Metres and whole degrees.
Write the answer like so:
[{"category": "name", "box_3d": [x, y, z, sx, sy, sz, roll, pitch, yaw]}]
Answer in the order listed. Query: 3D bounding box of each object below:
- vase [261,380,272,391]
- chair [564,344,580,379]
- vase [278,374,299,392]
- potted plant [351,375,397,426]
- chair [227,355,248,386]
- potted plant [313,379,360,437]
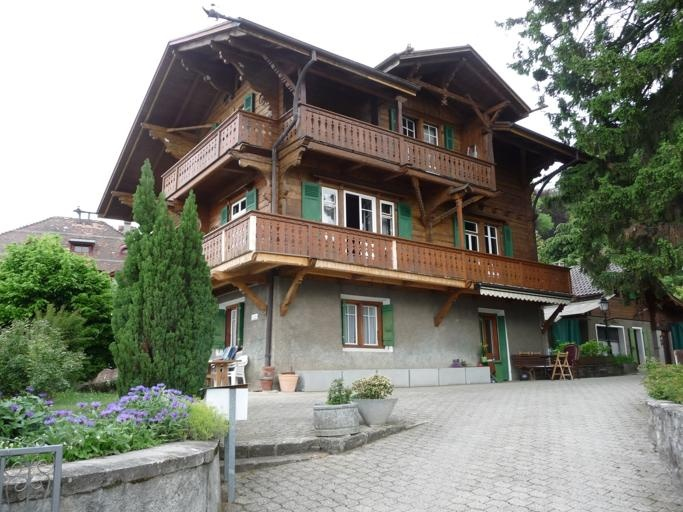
[{"category": "vase", "box_3d": [-2.316, 4.041, 16.584, 0.296, 0.231, 0.309, -7, -20, 17]}, {"category": "chair", "box_3d": [9.279, 4.247, 21.488, 0.443, 1.339, 0.885, -2, -4, 22]}, {"category": "vase", "box_3d": [-1.604, 3.851, 16.174, 0.492, 0.388, 0.511, 0, -28, -1]}, {"category": "potted plant", "box_3d": [0.689, 2.935, 10.912, 0.816, 0.957, 0.837, 3, -10, -15]}, {"category": "chair", "box_3d": [-3.432, 3.819, 17.894, 0.683, 0.934, 0.989, 1, -3, -20]}, {"category": "potted plant", "box_3d": [-0.046, 2.824, 9.848, 0.863, 0.920, 0.592, 3, -5, -44]}]
